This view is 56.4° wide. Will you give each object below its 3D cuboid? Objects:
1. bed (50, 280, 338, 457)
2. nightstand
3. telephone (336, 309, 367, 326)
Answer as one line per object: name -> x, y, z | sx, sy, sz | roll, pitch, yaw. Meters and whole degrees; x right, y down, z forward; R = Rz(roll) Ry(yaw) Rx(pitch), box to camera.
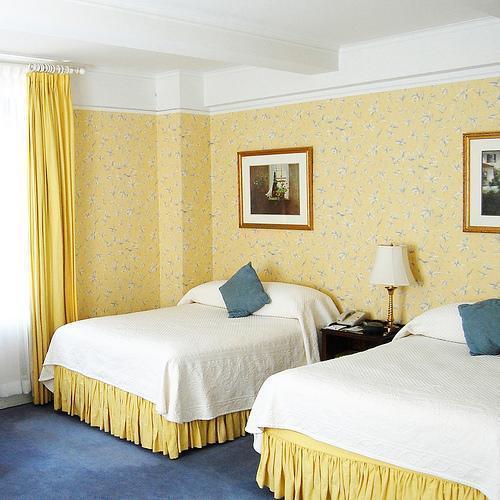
bed -> -0.210, 0.821, 3.535 | 1.468, 0.644, 1.241 | -3, 5, -42
nightstand -> 0.892, 0.700, 3.797 | 0.539, 0.423, 0.377 | 5, 10, 42
telephone -> 0.844, 0.567, 3.883 | 0.142, 0.052, 0.134 | -22, 6, -43
